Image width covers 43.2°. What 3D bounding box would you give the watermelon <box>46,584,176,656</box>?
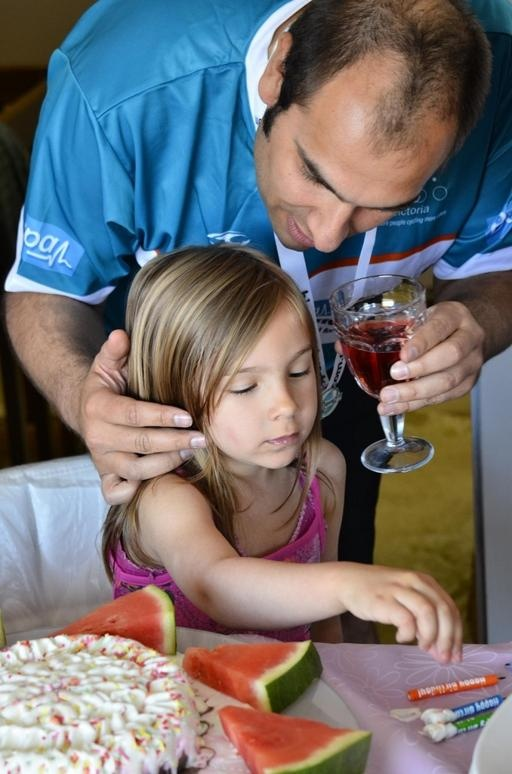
[{"bbox_3d":[-0.166,0.276,0.761,0.153,0.061,0.100,-3,4,-4],"label":"watermelon"}]
